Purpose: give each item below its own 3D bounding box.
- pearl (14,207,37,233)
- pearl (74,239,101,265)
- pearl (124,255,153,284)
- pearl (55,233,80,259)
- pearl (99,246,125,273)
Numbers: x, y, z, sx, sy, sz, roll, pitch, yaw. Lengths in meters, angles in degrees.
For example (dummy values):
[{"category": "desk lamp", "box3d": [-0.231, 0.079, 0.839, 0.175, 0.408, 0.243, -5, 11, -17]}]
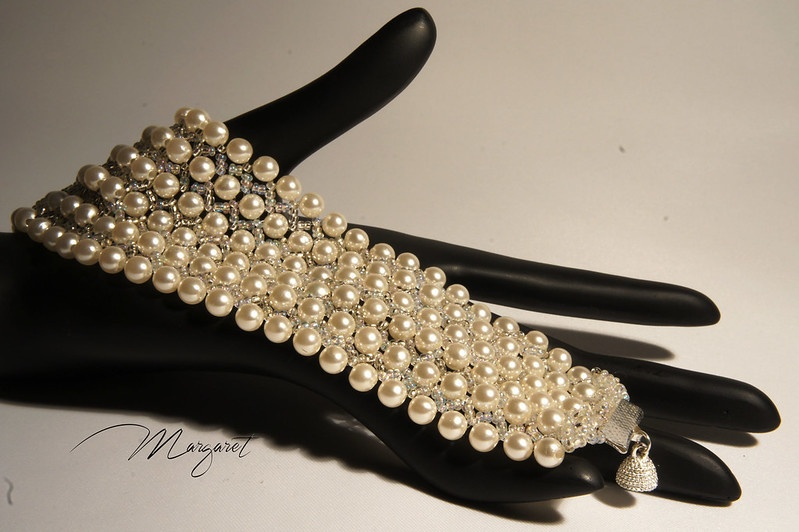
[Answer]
[{"category": "pearl", "box3d": [-0.576, -0.067, 1.326, 0.035, 0.044, 0.036, 6, 3, 7]}, {"category": "pearl", "box3d": [-0.461, -0.019, 1.267, 0.036, 0.035, 0.022, 58, -5, -12]}, {"category": "pearl", "box3d": [-0.385, 0.007, 1.264, 0.022, 0.038, 0.038, -3, -60, 14]}, {"category": "pearl", "box3d": [-0.495, -0.030, 1.274, 0.032, 0.032, 0.038, -13, -26, -27]}, {"category": "pearl", "box3d": [-0.422, -0.009, 1.265, 0.036, 0.038, 0.022, -2, 7, 6]}]
